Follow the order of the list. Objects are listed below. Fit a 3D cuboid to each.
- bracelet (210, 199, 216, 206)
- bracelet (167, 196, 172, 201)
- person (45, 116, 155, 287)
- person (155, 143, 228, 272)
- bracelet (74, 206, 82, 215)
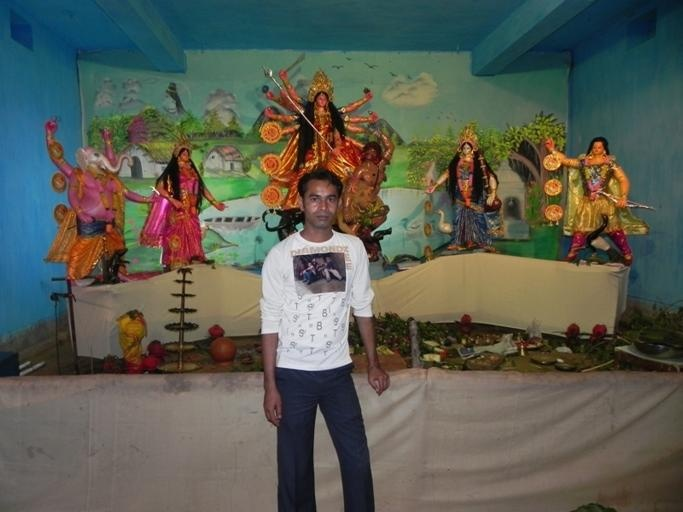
[{"bbox_3d":[-1.769,-0.750,8.236,0.078,0.068,0.021,0,1,-38],"label":"bracelet"},{"bbox_3d":[-2.252,-0.760,7.802,0.079,0.057,0.068,3,-2,-14],"label":"bracelet"},{"bbox_3d":[-2.969,-0.599,7.060,1.034,1.961,0.684,-1,0,-35],"label":"person"},{"bbox_3d":[-2.087,-0.631,8.036,0.797,1.629,0.499,-1,0,-16],"label":"person"},{"bbox_3d":[-3.072,-0.540,6.948,0.098,0.097,0.037,0,0,-17],"label":"bracelet"}]
